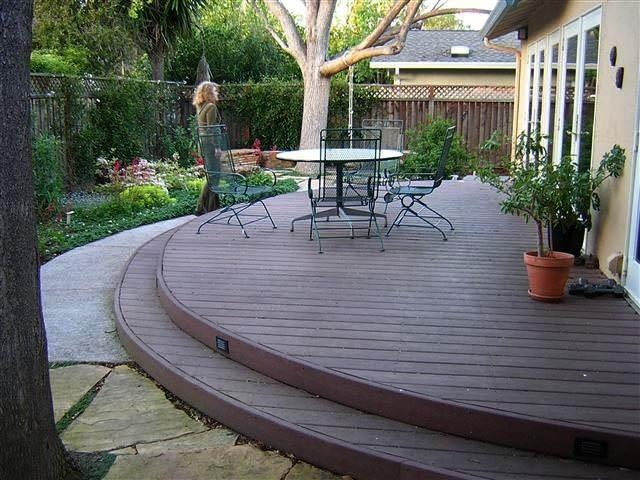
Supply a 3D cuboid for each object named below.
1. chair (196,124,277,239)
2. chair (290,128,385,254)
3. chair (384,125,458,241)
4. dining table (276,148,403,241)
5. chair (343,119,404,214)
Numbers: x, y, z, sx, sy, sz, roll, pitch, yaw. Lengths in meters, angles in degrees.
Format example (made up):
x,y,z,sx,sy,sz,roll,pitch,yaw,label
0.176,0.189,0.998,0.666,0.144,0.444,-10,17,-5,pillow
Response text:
x,y,z,sx,sy,sz,roll,pitch,yaw,label
-1.268,-0.739,6.505,0.849,1.215,0.720,5,1,-20,chair
0.211,-0.631,5.950,1.136,1.247,1.110,6,4,1,chair
1.142,-0.655,5.856,0.786,1.149,0.673,2,11,25,chair
0.241,-0.626,5.768,1.272,0.814,1.270,-2,26,-2,dining table
0.727,-0.827,6.617,0.637,1.135,0.698,2,1,-34,chair
